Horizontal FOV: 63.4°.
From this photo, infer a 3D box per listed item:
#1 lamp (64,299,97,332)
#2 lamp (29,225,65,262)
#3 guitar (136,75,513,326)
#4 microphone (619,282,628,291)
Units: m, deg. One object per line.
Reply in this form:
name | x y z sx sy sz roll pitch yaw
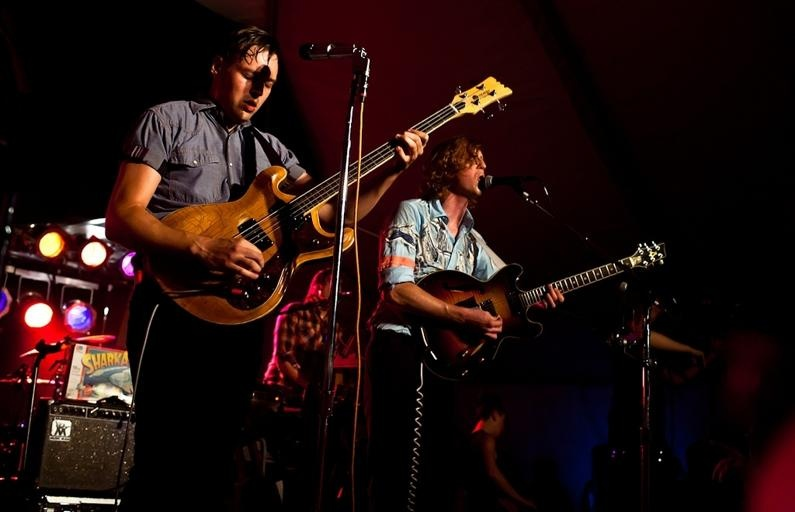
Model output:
lamp | -4.168 0.804 8.411 0.372 0.382 0.287 16 -21 -27
lamp | -4.250 -0.165 7.899 0.322 0.387 0.198 19 -22 -32
guitar | -0.475 -0.404 4.578 2.811 0.872 0.355 -36 1 -23
microphone | 1.913 0.253 5.439 0.071 0.074 0.074 5 -48 51
